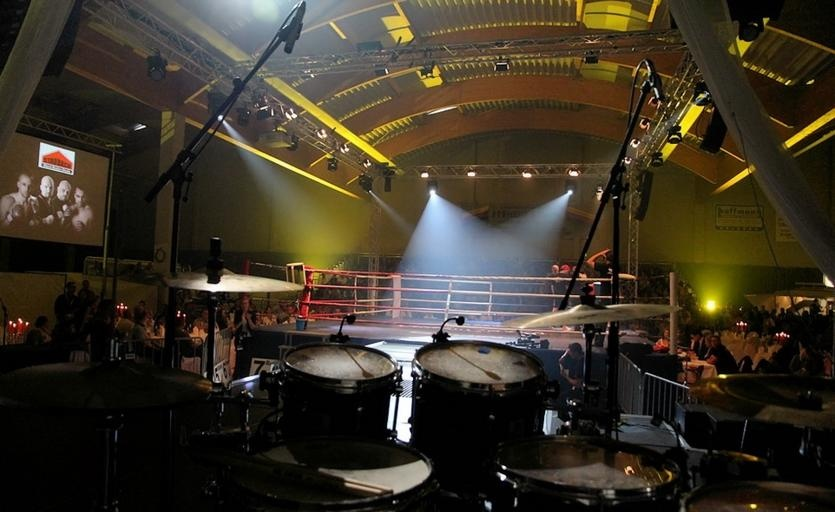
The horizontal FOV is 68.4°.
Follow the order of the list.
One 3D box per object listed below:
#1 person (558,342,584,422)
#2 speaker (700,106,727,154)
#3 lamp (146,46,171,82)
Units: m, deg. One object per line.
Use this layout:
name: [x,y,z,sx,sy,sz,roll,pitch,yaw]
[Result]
person: [3.019,2.298,12.101,0.481,1.203,0.903,1,-11,12]
speaker: [5.416,-2.384,11.278,0.436,0.940,1.820,-2,-11,26]
lamp: [-5.586,-4.112,13.095,0.379,0.614,0.394,7,-11,-20]
